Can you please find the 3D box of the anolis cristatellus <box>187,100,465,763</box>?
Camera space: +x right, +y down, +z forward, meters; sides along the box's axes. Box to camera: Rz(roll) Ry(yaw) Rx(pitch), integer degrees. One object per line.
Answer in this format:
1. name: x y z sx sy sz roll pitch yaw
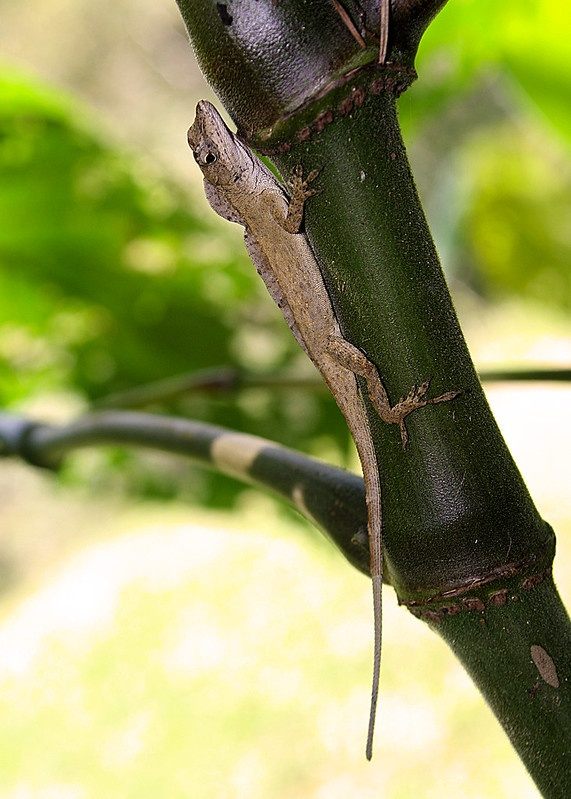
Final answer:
1. anolis cristatellus: 0.043 -0.021 0.726 0.087 0.613 0.237 -25 -14 28
